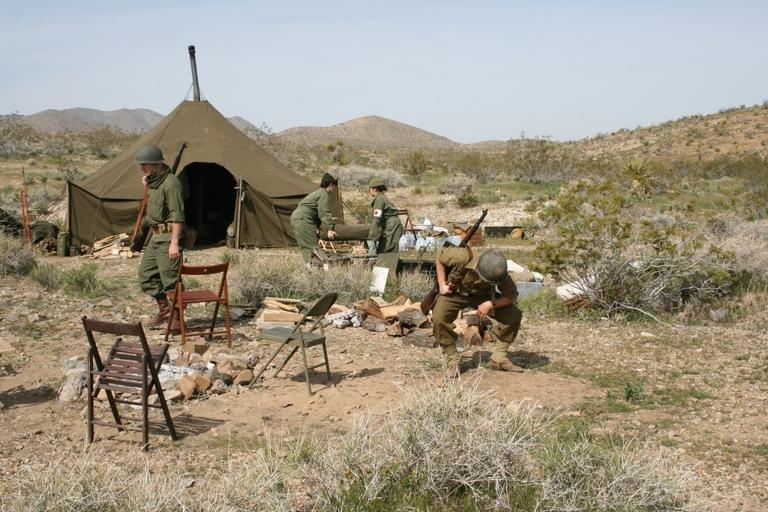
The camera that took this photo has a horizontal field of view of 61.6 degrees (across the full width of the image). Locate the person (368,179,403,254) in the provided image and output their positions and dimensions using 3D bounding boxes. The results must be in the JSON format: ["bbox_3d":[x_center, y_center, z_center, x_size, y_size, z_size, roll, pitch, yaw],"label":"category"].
[{"bbox_3d":[0.017,-0.821,13.226,0.662,1.563,0.858,2,4,1],"label":"person"}]

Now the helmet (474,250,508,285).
[{"bbox_3d":[1.429,0.108,8.446,0.362,0.374,0.453,17,47,-5],"label":"helmet"}]

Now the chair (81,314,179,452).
[{"bbox_3d":[-2.846,1.374,7.266,0.760,1.407,0.729,2,5,8],"label":"chair"}]

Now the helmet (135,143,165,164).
[{"bbox_3d":[-3.474,-1.532,9.582,0.373,0.302,0.313,-1,5,-35],"label":"helmet"}]

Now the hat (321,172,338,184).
[{"bbox_3d":[-1.107,-1.583,12.867,0.319,0.221,0.421,-1,0,0],"label":"hat"}]

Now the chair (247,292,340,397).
[{"bbox_3d":[-1.060,1.068,9.211,1.420,1.767,0.994,7,4,23],"label":"chair"}]

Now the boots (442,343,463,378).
[{"bbox_3d":[0.907,1.410,8.680,0.253,0.389,0.660,2,4,5],"label":"boots"}]

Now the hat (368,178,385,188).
[{"bbox_3d":[-0.138,-1.502,13.162,0.436,0.189,0.585,0,6,1],"label":"hat"}]
